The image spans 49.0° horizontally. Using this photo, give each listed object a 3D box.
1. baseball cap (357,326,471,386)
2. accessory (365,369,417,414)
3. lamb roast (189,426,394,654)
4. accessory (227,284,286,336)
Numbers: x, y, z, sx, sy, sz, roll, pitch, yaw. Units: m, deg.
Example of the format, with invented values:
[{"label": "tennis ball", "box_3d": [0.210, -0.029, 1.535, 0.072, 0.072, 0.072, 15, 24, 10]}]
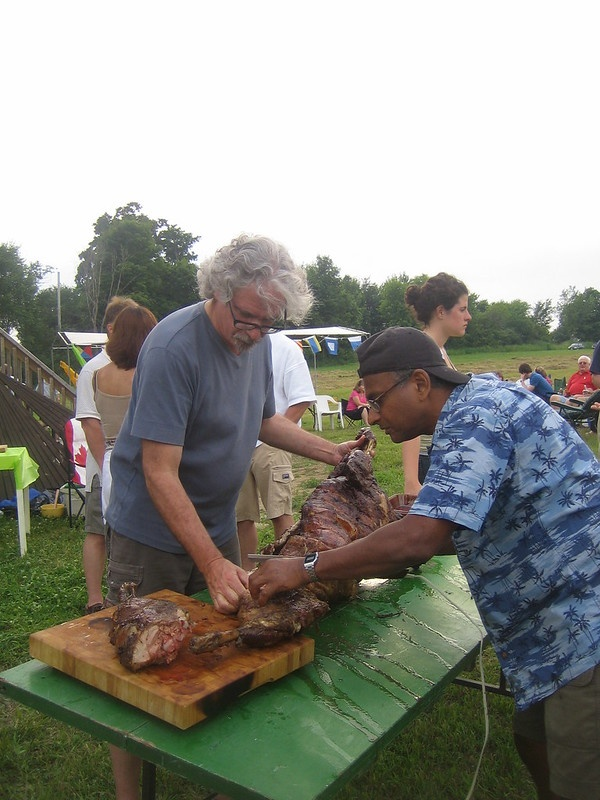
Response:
[{"label": "baseball cap", "box_3d": [0.354, -0.123, 1.996, 0.365, 0.165, 0.204, 2, -6, 6]}, {"label": "accessory", "box_3d": [0.258, -0.038, 1.936, 0.126, 0.037, 0.120, -35, -10, -3]}, {"label": "lamb roast", "box_3d": [0.065, 0.540, 2.452, 0.312, 0.218, 1.181, 17, 15, 24]}, {"label": "accessory", "box_3d": [-0.138, -0.320, 2.417, 0.146, 0.158, 0.235, 17, 10, 40]}]
